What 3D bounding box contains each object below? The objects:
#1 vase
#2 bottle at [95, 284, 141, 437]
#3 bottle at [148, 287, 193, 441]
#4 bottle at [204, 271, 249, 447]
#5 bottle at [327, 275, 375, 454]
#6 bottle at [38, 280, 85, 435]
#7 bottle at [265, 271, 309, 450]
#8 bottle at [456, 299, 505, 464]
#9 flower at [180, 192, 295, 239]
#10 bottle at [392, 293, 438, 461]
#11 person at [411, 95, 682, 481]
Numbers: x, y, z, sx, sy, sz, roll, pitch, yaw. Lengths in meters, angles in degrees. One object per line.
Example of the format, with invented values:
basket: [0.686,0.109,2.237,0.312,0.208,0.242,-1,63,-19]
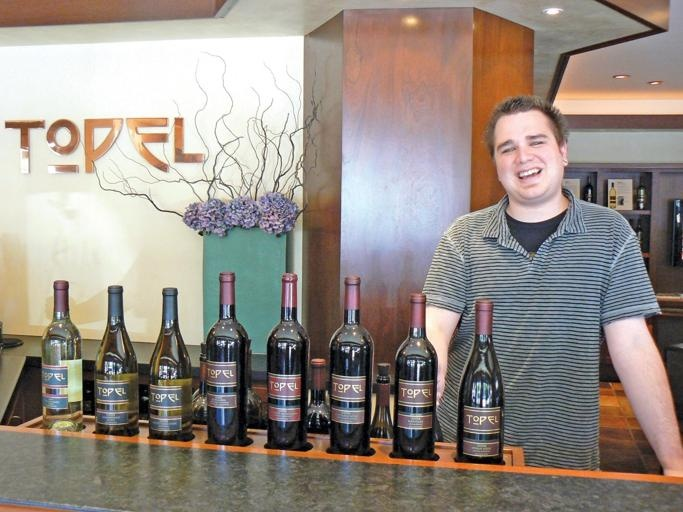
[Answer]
vase: [-0.514,0.171,3.360,0.458,0.606,0.462,13,40,11]
bottle: [-0.552,0.257,1.543,0.104,0.360,0.131,-1,0,-21]
bottle: [-0.416,0.262,1.530,0.104,0.347,0.131,-1,0,-16]
bottle: [-0.271,0.246,1.499,0.110,0.408,0.106,2,9,0]
bottle: [0.020,0.255,1.442,0.109,0.328,0.107,-1,0,0]
bottle: [-0.691,0.250,1.557,0.092,0.381,0.107,-1,1,-25]
bottle: [-0.128,0.249,1.492,0.109,0.349,0.157,-1,0,-5]
bottle: [0.319,0.295,1.450,0.108,0.266,0.135,-1,0,13]
flower: [-0.517,-0.210,3.263,0.598,0.200,0.086,-1,0,7]
bottle: [0.173,0.278,1.480,0.110,0.284,0.182,-1,0,7]
person: [0.609,0.072,1.890,0.723,0.742,0.386,-1,0,26]
